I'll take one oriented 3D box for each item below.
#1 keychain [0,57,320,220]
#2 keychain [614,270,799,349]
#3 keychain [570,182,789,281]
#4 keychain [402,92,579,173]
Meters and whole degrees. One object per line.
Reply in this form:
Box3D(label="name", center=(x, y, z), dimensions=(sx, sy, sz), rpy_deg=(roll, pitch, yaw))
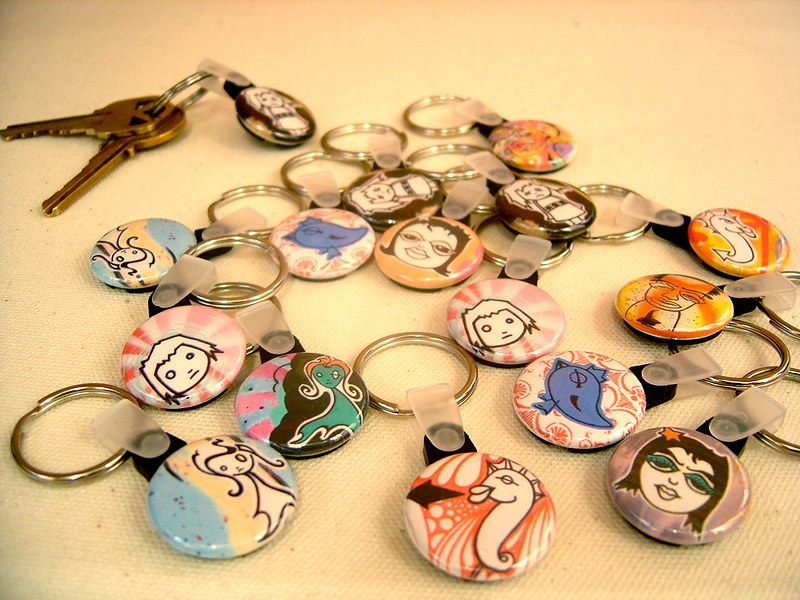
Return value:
Box3D(label="keychain", center=(-0.440, -0.377, 1.568), dimensions=(0.653, 0.124, 0.354), rpy_deg=(-20, 48, -26))
Box3D(label="keychain", center=(0.504, 0.018, 1.179), dimensions=(0.265, 0.043, 0.123), rpy_deg=(-6, 36, -6))
Box3D(label="keychain", center=(0.504, -0.130, 1.312), dimensions=(0.349, 0.031, 0.155), rpy_deg=(15, 38, 28))
Box3D(label="keychain", center=(0.173, -0.362, 1.555), dimensions=(0.403, 0.057, 0.177), rpy_deg=(21, 43, 30))
